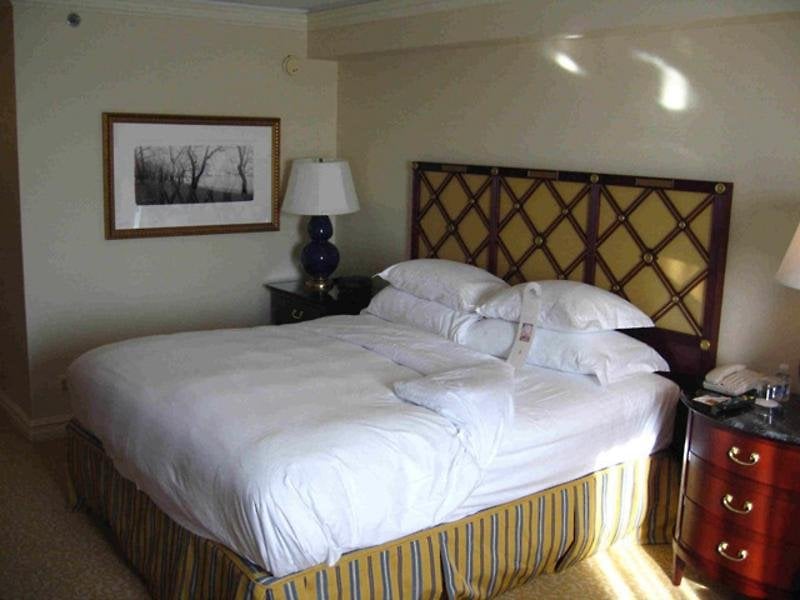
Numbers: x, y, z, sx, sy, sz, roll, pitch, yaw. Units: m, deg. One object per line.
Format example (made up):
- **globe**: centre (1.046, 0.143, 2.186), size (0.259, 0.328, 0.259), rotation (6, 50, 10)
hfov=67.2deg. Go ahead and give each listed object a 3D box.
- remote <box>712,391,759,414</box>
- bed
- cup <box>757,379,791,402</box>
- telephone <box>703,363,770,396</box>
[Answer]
- **remote**: centre (1.465, 0.453, 2.620), size (0.193, 0.033, 0.097), rotation (-12, 12, -34)
- **bed**: centre (-0.244, 0.191, 3.294), size (2.723, 1.996, 2.718), rotation (-6, 12, -35)
- **cup**: centre (1.636, 0.396, 2.621), size (0.107, 0.089, 0.116), rotation (-13, 7, 2)
- **telephone**: centre (1.542, 0.338, 2.747), size (0.194, 0.064, 0.151), rotation (-7, 11, -29)
